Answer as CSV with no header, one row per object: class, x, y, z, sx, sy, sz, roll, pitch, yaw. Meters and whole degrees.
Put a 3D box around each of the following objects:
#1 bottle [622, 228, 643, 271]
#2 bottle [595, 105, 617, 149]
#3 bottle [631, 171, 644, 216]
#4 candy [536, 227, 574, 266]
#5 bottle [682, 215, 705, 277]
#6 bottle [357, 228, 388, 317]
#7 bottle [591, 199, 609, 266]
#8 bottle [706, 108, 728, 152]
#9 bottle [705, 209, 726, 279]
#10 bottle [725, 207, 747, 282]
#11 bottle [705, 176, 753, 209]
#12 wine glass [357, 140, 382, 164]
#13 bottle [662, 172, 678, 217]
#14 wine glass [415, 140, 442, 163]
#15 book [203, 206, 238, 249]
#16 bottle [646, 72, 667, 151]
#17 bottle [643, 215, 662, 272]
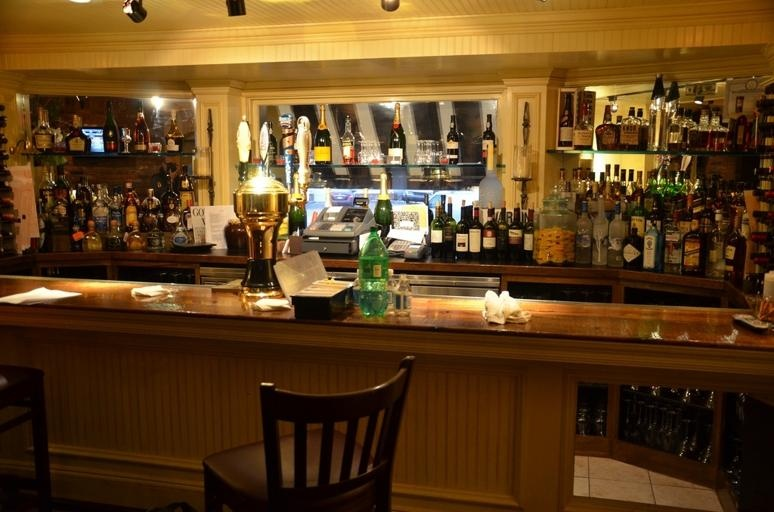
bottle,1.886,-0.058,4.598,0.144,0.302,0.109,1,10,17
bottle,1.792,-1.043,4.855,0.180,0.358,0.221,1,10,17
bottle,2.010,-0.514,4.788,0.101,0.316,0.297,2,10,23
candy,1.347,-0.097,4.781,0.309,0.285,0.277,-10,14,-43
bottle,2.219,-0.070,4.332,0.151,0.402,0.125,1,10,17
bottle,-0.073,0.077,3.069,0.165,0.437,0.192,-2,9,-1
bottle,1.681,-0.196,4.703,0.117,0.536,0.106,-2,9,0
bottle,2.516,-0.956,4.548,0.134,0.313,0.223,3,11,27
bottle,2.357,-0.067,4.291,0.117,0.413,0.201,3,11,28
bottle,2.300,-0.058,3.944,0.097,0.515,0.228,0,10,14
bottle,2.544,-0.477,4.437,0.253,0.232,0.371,2,10,21
wine glass,-0.150,-0.931,5.424,0.214,0.211,0.210,-1,4,0
bottle,2.261,-0.484,4.756,0.111,0.340,0.235,3,10,25
wine glass,0.390,-0.938,5.433,0.236,0.223,0.218,1,6,10
book,-1.477,-0.253,5.300,0.386,0.500,0.040,-1,2,-18
bottle,2.134,-1.123,4.712,0.111,0.550,0.165,2,10,24
bottle,2.006,-0.082,4.528,0.128,0.366,0.197,2,10,22
